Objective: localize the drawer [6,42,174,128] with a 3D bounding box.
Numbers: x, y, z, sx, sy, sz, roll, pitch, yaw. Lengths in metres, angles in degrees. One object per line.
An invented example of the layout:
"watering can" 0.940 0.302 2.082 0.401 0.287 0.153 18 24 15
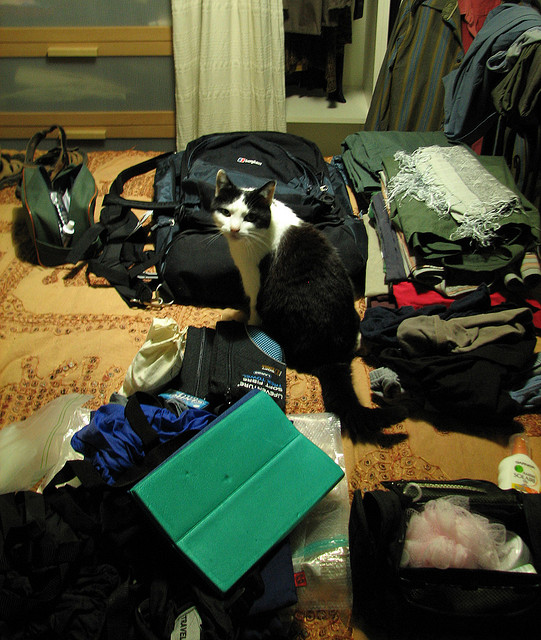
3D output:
"drawer" -0.805 -1.064 2.397 0.543 0.456 0.180 0 41 -2

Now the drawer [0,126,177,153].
"drawer" -0.850 -0.832 2.466 0.629 0.106 0.146 -2 23 -4

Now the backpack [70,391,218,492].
"backpack" -0.277 0.228 1.170 0.211 0.116 0.270 24 35 38

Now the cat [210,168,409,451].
"cat" 0.144 -0.072 1.442 0.310 0.572 0.657 -22 34 -36
